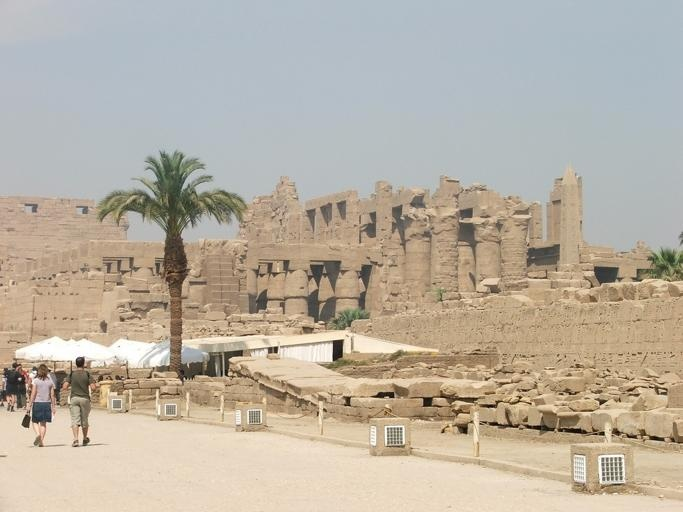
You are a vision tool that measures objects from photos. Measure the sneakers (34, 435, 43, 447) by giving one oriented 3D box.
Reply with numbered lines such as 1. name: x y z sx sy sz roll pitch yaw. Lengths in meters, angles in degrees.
1. sneakers: -7.004 4.266 30.297 0.121 0.333 0.135 -2 -12 -6
